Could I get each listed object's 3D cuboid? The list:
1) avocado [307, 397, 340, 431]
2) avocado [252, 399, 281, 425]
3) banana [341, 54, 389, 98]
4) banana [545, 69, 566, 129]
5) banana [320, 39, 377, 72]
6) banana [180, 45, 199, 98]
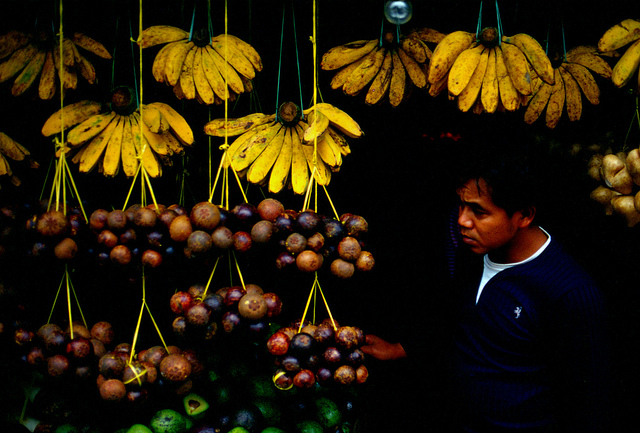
[{"bbox_3d":[0.022,0.843,2.836,0.105,0.148,0.086,10,-41,5],"label":"avocado"},{"bbox_3d":[-0.222,0.834,2.784,0.107,0.070,0.081,14,-8,18],"label":"avocado"},{"bbox_3d":[0.207,-0.666,3.044,0.125,0.256,0.060,40,-6,-4],"label":"banana"},{"bbox_3d":[1.114,-0.538,3.062,0.075,0.302,0.067,1,-3,-23],"label":"banana"},{"bbox_3d":[0.173,-0.766,3.154,0.328,0.110,0.126,-20,-2,-2],"label":"banana"},{"bbox_3d":[-0.616,-0.676,3.033,0.054,0.224,0.068,2,-6,-6],"label":"banana"}]
